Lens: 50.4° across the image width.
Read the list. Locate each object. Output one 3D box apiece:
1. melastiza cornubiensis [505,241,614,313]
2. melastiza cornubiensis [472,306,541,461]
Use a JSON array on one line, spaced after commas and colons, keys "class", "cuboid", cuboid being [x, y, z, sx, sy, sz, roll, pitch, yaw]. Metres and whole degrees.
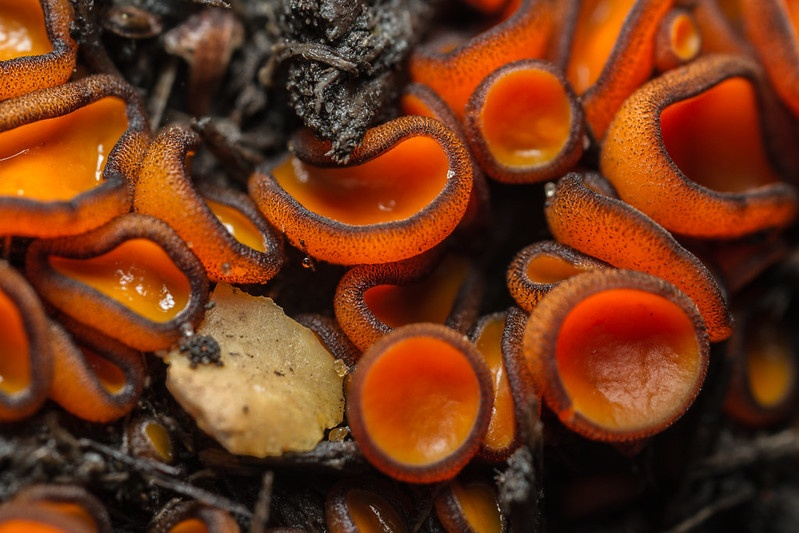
[{"class": "melastiza cornubiensis", "cuboid": [0.662, 0.036, 3.715, 0.328, 0.311, 0.126, -15, -28, 9]}, {"class": "melastiza cornubiensis", "cuboid": [0.473, 0.499, 3.637, 0.182, 0.585, 0.408, 8, -17, -28]}]
